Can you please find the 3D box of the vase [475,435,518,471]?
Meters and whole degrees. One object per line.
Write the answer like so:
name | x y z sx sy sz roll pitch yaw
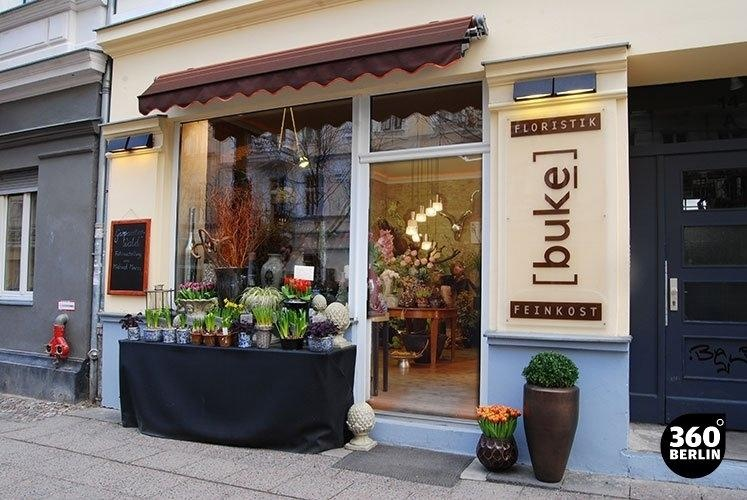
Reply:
vase | 1.258 2.084 5.974 0.356 0.279 0.360 0 -3 -13

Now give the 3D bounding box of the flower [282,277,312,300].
flower | -0.895 0.450 6.782 0.268 0.219 0.245 4 -3 27

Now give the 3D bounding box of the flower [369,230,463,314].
flower | 0.421 0.223 7.371 1.082 1.041 0.674 -3 6 -9

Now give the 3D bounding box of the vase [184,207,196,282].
vase | -2.470 -0.055 7.913 0.168 0.978 0.168 2 5 2

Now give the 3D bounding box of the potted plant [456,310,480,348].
potted plant | 1.079 0.895 6.622 0.287 0.359 0.268 1 7 8

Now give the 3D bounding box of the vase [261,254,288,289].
vase | -1.302 0.268 7.561 0.321 0.450 0.327 7 8 34

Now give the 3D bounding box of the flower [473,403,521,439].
flower | 1.292 1.751 6.003 0.414 0.295 0.406 -3 -2 -11

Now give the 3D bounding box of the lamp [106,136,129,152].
lamp | -3.513 -1.457 8.004 0.425 0.211 0.149 2 7 34

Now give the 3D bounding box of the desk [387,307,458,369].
desk | 0.636 1.080 7.638 0.904 0.684 0.727 -1 -3 37

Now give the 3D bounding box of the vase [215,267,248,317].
vase | -1.870 0.506 7.646 0.476 0.559 0.504 1 0 13

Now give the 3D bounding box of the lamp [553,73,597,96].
lamp | 2.081 -1.719 6.015 0.293 0.270 0.079 4 -2 16

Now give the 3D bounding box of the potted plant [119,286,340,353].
potted plant | -1.537 0.829 6.496 1.901 0.811 0.425 2 -8 12

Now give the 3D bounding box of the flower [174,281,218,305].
flower | -2.180 0.517 7.079 0.332 0.174 0.335 -2 -5 33

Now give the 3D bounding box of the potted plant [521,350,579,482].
potted plant | 1.755 1.659 5.747 0.517 1.245 0.255 -1 6 16

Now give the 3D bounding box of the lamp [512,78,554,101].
lamp | 1.696 -1.714 6.160 0.411 0.233 0.141 -1 6 14
